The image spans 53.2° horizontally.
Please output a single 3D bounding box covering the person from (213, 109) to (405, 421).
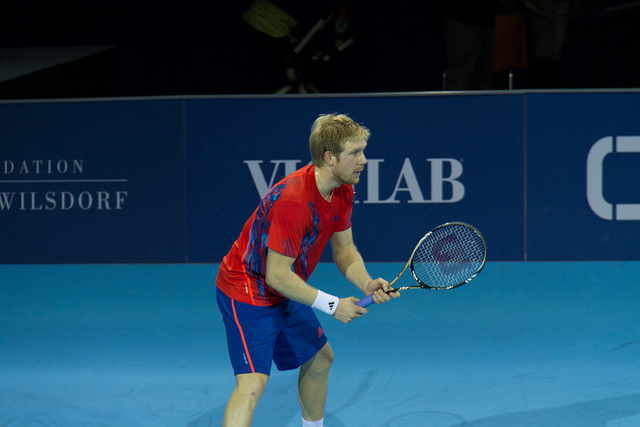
[{"bbox_3d":[-0.198,0.501,5.403,1.333,2.689,0.440,0,3,-11],"label":"person"}]

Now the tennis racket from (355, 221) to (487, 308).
[{"bbox_3d":[1.117,0.379,5.716,0.679,0.598,0.544,1,2,0],"label":"tennis racket"}]
